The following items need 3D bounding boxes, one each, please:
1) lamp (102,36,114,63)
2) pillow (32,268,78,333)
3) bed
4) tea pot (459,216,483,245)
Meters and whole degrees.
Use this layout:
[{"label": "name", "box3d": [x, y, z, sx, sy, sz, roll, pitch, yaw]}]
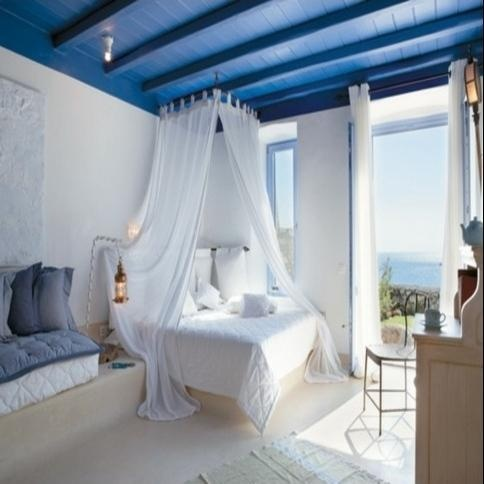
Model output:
[{"label": "lamp", "box3d": [-1.173, -1.636, 3.361, 0.087, 0.218, 0.450, -1, 4, -21]}, {"label": "pillow", "box3d": [-1.447, 0.440, 2.968, 0.301, 0.480, 0.118, 0, -1, 20]}, {"label": "bed", "box3d": [-0.104, 0.608, 3.930, 2.049, 1.641, 2.215, -6, -7, 44]}, {"label": "tea pot", "box3d": [1.110, -0.055, 1.852, 0.130, 0.188, 0.104, 0, 0, -26]}]
